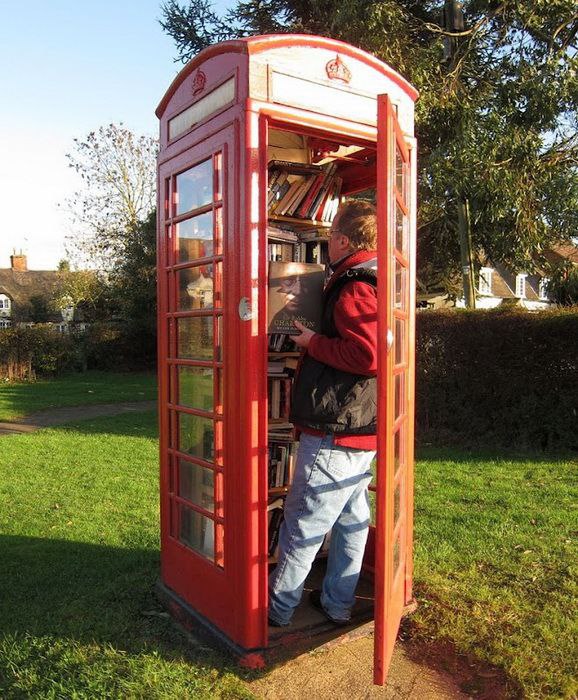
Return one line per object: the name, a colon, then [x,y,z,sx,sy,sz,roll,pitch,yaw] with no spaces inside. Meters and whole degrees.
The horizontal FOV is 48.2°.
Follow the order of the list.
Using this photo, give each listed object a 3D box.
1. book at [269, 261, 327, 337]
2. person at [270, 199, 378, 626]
book: [0.024,-0.244,3.142,0.363,0.308,0.351,-1,16,-25]
person: [0.153,0.311,3.012,0.502,2.104,0.669,0,-1,6]
